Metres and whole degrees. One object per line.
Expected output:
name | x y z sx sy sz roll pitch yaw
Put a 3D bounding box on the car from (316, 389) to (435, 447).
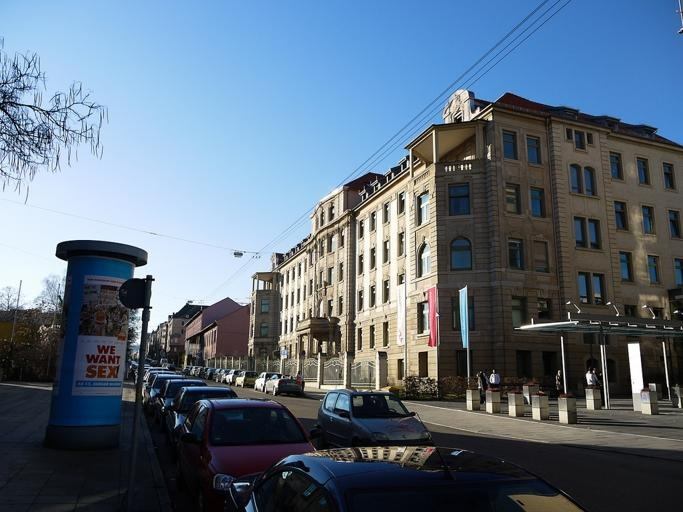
car | 0.794 4.042 12.440 1.915 1.455 3.517 8 -16 -18
